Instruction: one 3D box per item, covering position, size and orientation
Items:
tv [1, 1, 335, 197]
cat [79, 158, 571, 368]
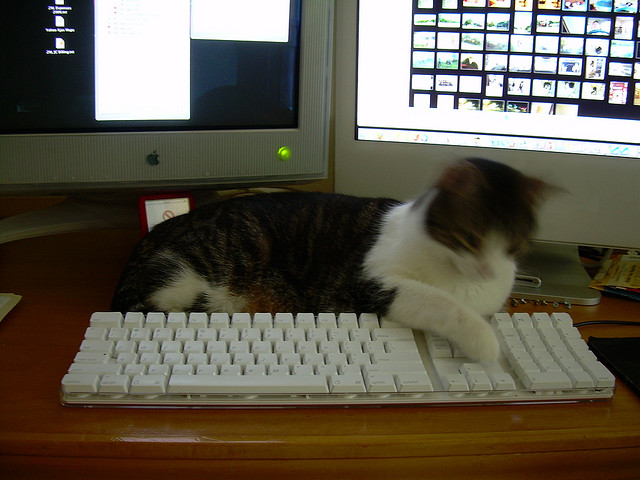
[{"bbox_3d":[-0.265,-0.240,1.057,0.804,0.375,0.360,-1,6,-11],"label":"tv"},{"bbox_3d":[0.046,0.037,0.835,0.790,0.252,0.318,-1,25,-2],"label":"cat"}]
